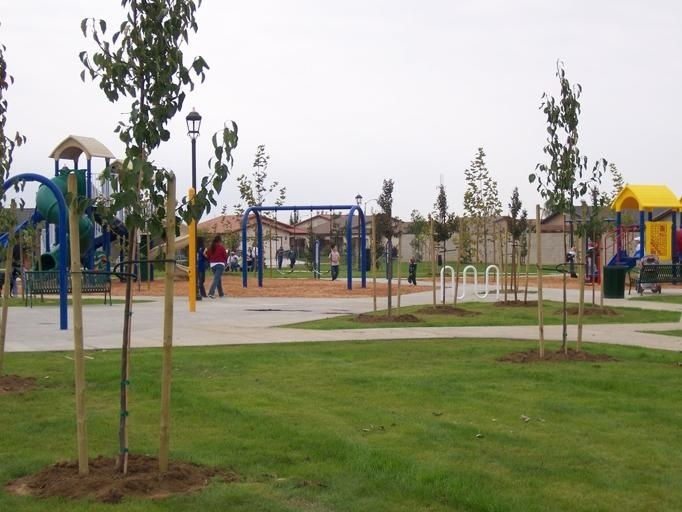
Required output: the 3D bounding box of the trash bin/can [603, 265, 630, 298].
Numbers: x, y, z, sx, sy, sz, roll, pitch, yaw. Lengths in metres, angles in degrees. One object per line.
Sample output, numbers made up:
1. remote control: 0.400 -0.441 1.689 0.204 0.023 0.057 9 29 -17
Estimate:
1. trash bin/can: 8.658 0.820 24.885 0.851 1.173 0.944 1 -5 -1
